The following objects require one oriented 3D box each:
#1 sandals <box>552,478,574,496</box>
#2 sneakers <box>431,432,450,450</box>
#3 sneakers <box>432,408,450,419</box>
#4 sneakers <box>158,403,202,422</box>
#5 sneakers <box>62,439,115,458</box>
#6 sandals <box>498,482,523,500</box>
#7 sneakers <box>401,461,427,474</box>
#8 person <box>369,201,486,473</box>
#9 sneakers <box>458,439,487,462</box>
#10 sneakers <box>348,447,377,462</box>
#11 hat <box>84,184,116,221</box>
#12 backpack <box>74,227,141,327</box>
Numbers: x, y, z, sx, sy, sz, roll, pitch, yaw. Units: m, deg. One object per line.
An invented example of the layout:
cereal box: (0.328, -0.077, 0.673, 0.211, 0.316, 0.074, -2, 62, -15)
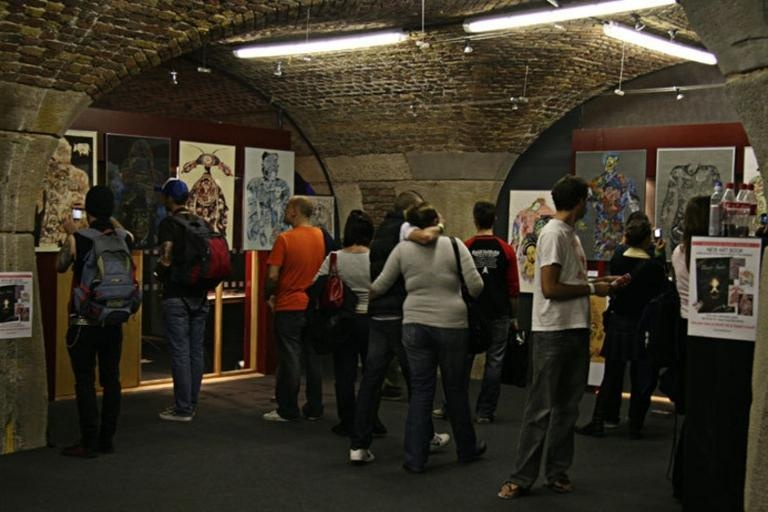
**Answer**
sandals: (1.663, 2.157, 6.143, 0.105, 0.087, 0.191, 2, -5, -34)
sneakers: (0.640, 2.023, 7.228, 0.316, 0.141, 0.110, -9, 9, -15)
sneakers: (0.706, 2.001, 8.301, 0.111, 0.111, 0.244, 1, 4, -21)
sneakers: (-2.506, 1.922, 7.988, 0.441, 0.187, 0.190, 4, -1, 17)
sneakers: (-3.088, 1.993, 6.858, 0.512, 0.203, 0.189, 5, -4, 4)
sandals: (1.140, 2.160, 6.003, 0.219, 0.094, 0.119, 3, -10, -8)
sneakers: (0.280, 2.105, 6.511, 0.189, 0.079, 0.098, 10, -4, -30)
person: (0.438, 0.978, 6.530, 0.998, 2.336, 0.451, 1, 1, 1)
sneakers: (0.917, 2.040, 6.879, 0.133, 0.169, 0.375, 4, 12, 34)
sneakers: (-0.243, 2.042, 6.740, 0.117, 0.130, 0.310, 0, 1, 28)
hat: (-2.982, -0.522, 6.937, 0.286, 0.361, 0.335, 3, -19, -38)
backpack: (-2.844, 0.200, 6.688, 0.628, 0.966, 0.359, 1, 1, -25)
